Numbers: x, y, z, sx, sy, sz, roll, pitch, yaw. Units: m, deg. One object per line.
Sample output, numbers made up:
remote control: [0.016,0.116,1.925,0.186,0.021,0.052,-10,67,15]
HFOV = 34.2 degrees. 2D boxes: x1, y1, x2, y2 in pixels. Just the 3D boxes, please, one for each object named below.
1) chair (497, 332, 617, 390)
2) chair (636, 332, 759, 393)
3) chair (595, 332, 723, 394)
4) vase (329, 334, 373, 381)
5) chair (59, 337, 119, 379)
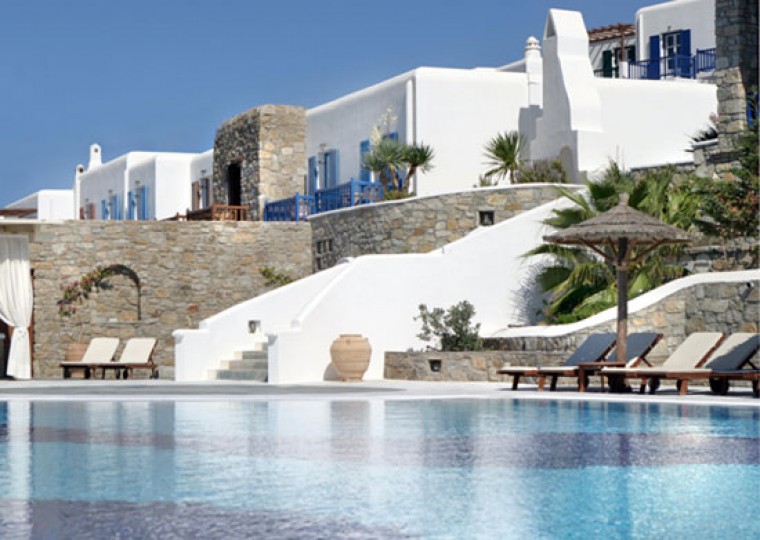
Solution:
chair: [3.435,1.723,22.934,1.636,0.960,1.195,4,-7,-23]
chair: [5.685,1.620,21.721,1.477,0.861,1.394,4,-8,-28]
chair: [5.174,1.627,21.819,1.420,0.739,1.423,2,-7,-26]
vase: [-0.598,1.844,26.046,0.892,0.871,0.875,-4,-3,37]
chair: [-6.714,2.070,28.846,0.915,0.931,1.235,-1,-1,26]
